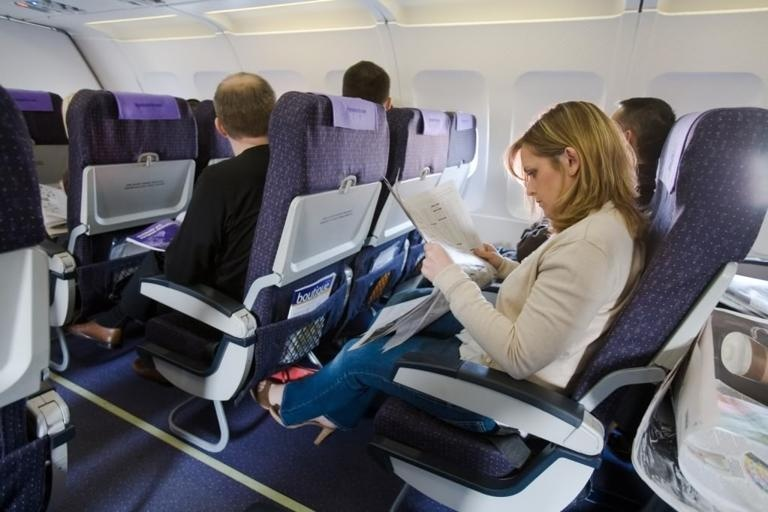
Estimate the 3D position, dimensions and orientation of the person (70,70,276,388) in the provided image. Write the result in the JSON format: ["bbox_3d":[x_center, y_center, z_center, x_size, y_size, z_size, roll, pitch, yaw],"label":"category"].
[{"bbox_3d":[-1.197,-0.202,3.055,1.232,1.728,0.769,16,24,11],"label":"person"}]

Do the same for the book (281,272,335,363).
[{"bbox_3d":[-0.410,0.304,2.788,0.053,0.503,0.466,26,32,16],"label":"book"}]

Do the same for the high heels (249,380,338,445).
[{"bbox_3d":[-0.461,0.805,2.746,0.433,0.182,0.146,37,49,5],"label":"high heels"}]
